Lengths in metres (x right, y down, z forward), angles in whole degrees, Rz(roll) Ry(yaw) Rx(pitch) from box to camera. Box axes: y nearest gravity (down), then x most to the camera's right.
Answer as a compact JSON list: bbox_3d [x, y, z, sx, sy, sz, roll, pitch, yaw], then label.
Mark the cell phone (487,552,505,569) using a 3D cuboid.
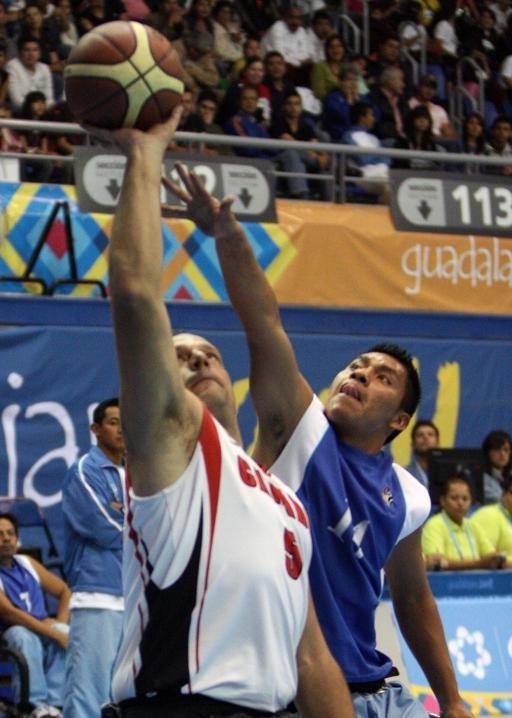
[{"bbox_3d":[1.340,1.124,7.614,0.084,0.085,0.067,-1,-7,-6],"label":"cell phone"}]
